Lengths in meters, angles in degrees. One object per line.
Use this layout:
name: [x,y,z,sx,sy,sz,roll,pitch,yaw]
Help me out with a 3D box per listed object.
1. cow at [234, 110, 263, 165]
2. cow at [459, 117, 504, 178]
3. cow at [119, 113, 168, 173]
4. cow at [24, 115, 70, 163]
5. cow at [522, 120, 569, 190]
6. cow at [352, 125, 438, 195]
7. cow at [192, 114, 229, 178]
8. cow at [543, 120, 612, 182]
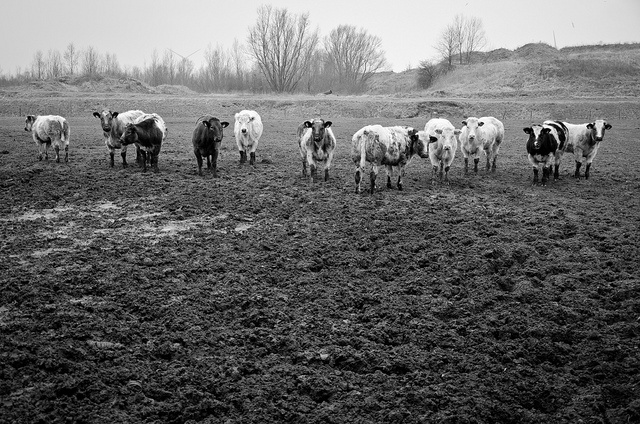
cow: [-2.707,-2.754,20.458,0.825,1.927,1.896,-1,11,-4]
cow: [5.504,-2.294,18.943,0.874,1.881,2.327,7,13,36]
cow: [-6.046,-2.376,18.827,1.209,1.807,2.173,-3,11,-14]
cow: [-10.383,-2.804,20.751,2.457,1.765,0.771,4,7,34]
cow: [7.213,-1.924,17.736,1.019,1.910,3.469,1,7,29]
cow: [2.075,-1.600,16.317,1.405,1.927,2.418,10,14,43]
cow: [-3.775,-2.258,18.610,1.063,1.911,2.174,-2,11,-12]
cow: [8.839,-2.148,18.574,0.891,1.802,3.166,6,9,5]
